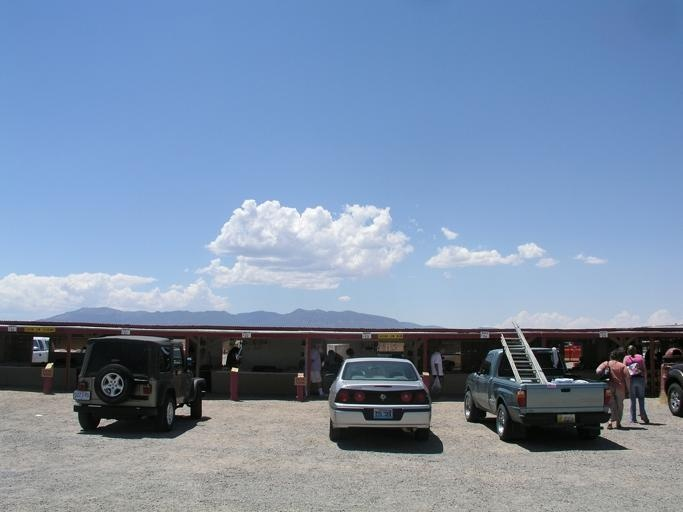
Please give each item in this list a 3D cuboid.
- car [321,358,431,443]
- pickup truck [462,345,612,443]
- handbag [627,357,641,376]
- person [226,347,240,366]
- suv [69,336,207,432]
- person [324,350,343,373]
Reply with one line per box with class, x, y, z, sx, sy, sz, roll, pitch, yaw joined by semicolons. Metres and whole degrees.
car;0.852;3.385;13.601;2.285;1.869;1.233;-1;-9;2
pickup truck;4.890;3.619;15.949;2.699;2.183;5.802;-1;-9;3
handbag;8.121;3.089;16.431;0.493;0.561;0.297;-1;0;9
person;-4.647;4.312;25.091;0.505;0.904;1.134;1;-9;-11
suv;-5.206;3.241;15.867;1.893;1.735;3.433;-1;-6;6
person;-0.467;4.793;26.643;0.700;0.820;0.836;-3;-7;32
